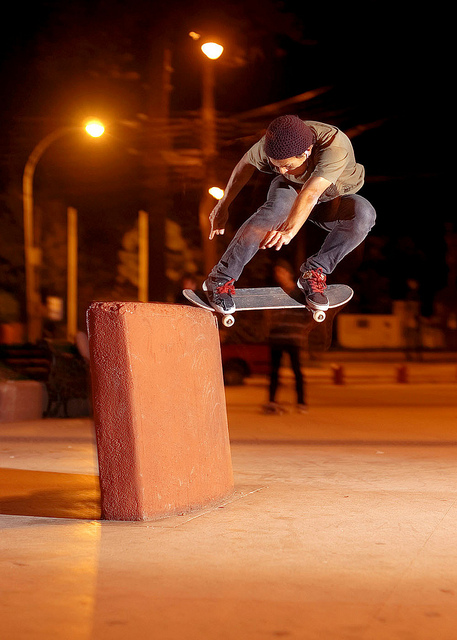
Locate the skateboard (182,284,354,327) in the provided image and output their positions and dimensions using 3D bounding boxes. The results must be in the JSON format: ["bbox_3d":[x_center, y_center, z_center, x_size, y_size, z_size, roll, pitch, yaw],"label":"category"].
[{"bbox_3d":[0.384,-0.168,5.073,1.843,0.225,0.422,-1,26,-6],"label":"skateboard"}]

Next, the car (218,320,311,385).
[{"bbox_3d":[1.216,1.061,17.950,3.018,1.077,1.454,1,1,-2],"label":"car"}]
